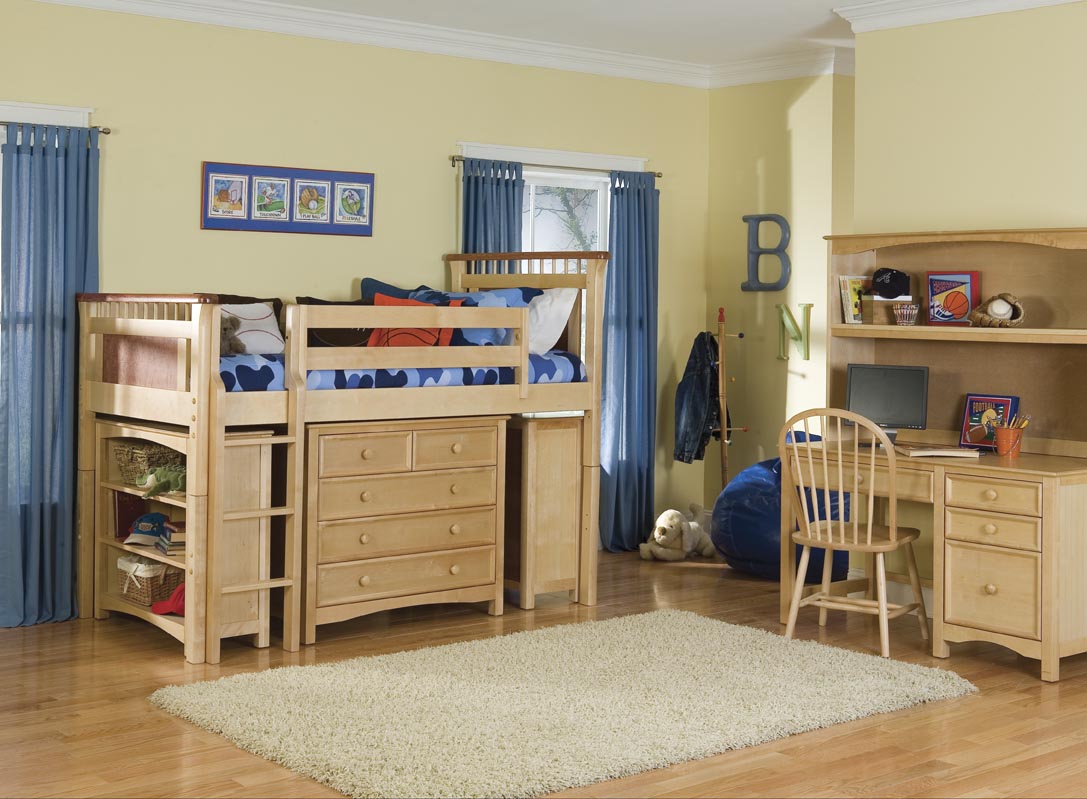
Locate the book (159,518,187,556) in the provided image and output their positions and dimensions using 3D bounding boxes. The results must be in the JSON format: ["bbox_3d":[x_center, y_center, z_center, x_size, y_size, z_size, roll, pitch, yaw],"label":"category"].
[{"bbox_3d":[-1.702,0.635,4.543,0.148,0.088,0.194,3,0,-23],"label":"book"}]

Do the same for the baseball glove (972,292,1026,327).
[{"bbox_3d":[2.166,-0.429,4.668,0.210,0.085,0.163,-31,31,-20],"label":"baseball glove"}]

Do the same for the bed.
[{"bbox_3d":[-1.043,0.119,5.268,1.381,1.736,2.467,9,6,43],"label":"bed"}]

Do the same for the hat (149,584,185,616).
[{"bbox_3d":[-1.746,0.946,4.635,0.145,0.068,0.187,11,9,30],"label":"hat"}]

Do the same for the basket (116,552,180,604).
[{"bbox_3d":[-1.932,0.869,4.804,0.219,0.181,0.317,1,2,-44],"label":"basket"}]

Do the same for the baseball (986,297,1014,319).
[{"bbox_3d":[2.166,-0.432,4.656,0.113,0.099,0.090,4,8,22],"label":"baseball"}]

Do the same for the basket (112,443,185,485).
[{"bbox_3d":[-1.872,0.290,4.703,0.234,0.141,0.337,-1,-2,33],"label":"basket"}]

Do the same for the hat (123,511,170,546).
[{"bbox_3d":[-1.889,0.630,4.712,0.177,0.119,0.235,4,2,1],"label":"hat"}]

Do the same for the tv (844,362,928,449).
[{"bbox_3d":[1.725,0.024,4.906,0.463,0.425,0.154,1,-3,43],"label":"tv"}]

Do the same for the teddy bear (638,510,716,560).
[{"bbox_3d":[0.886,0.881,6.530,0.406,0.295,0.597,-1,1,31],"label":"teddy bear"}]
